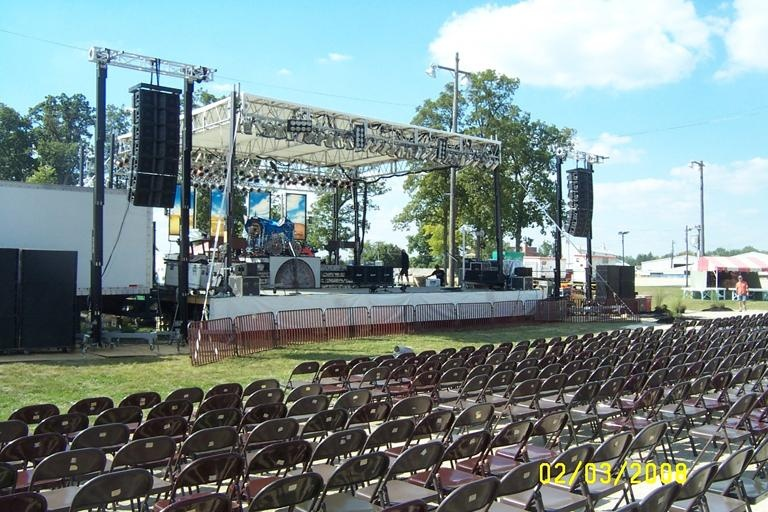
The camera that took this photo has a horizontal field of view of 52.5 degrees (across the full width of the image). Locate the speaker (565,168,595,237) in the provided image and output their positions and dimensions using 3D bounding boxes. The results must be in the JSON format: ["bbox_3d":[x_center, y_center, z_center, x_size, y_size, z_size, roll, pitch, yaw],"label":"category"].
[{"bbox_3d":[7.321,-1.974,29.062,1.036,1.749,0.600,-1,-1,-5],"label":"speaker"}]

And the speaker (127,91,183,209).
[{"bbox_3d":[-5.556,-2.622,18.873,1.234,2.924,0.683,-1,-1,-20],"label":"speaker"}]

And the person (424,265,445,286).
[{"bbox_3d":[2.559,0.982,39.054,0.646,1.325,0.477,3,23,21],"label":"person"}]

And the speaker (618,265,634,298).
[{"bbox_3d":[8.782,0.918,27.856,0.766,0.807,0.493,-1,-1,-34],"label":"speaker"}]

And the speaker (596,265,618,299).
[{"bbox_3d":[7.965,0.909,27.811,0.800,0.843,0.814,-2,-1,24],"label":"speaker"}]
